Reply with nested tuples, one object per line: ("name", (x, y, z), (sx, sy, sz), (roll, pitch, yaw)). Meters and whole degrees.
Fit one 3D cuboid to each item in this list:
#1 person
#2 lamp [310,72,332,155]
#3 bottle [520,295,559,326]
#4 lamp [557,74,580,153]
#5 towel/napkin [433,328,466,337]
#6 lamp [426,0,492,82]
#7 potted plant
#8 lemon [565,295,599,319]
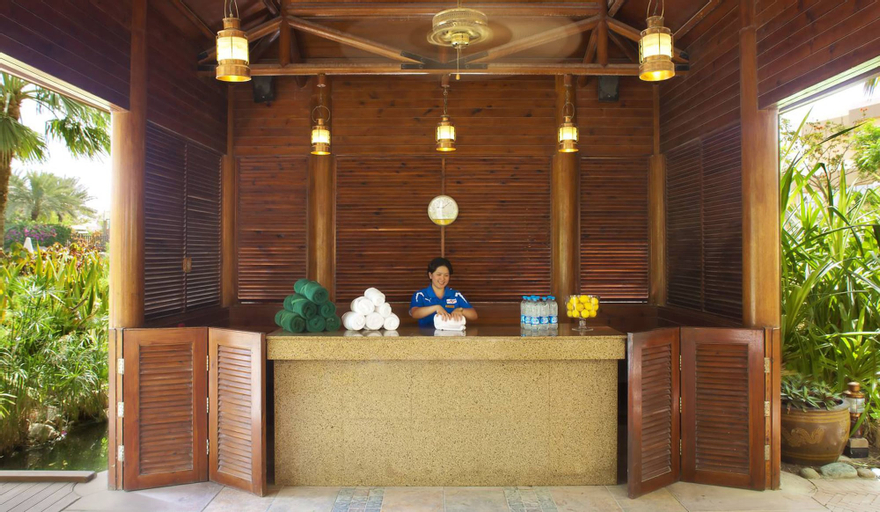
("person", (0.032, 0.398, 7.192), (0.703, 0.777, 0.728), (-1, -4, -8))
("lamp", (-1.439, -1.732, 7.815), (0.257, 1.097, 0.841), (-1, -4, -10))
("bottle", (1.063, 0.588, 6.944), (0.380, 0.313, 0.342), (0, -2, 5))
("lamp", (1.478, -1.673, 7.326), (0.276, 0.822, 0.238), (-5, 9, -11))
("towel/napkin", (0.102, 0.796, 6.622), (0.324, 0.063, 0.249), (-1, -4, -2))
("lamp", (0.156, -2.169, 6.474), (0.749, 0.753, 0.687), (-1, 0, -3))
("potted plant", (4.224, 1.724, 6.930), (0.553, 0.618, 0.511), (-16, 7, -20))
("lemon", (1.535, 0.541, 6.841), (0.346, 0.234, 0.306), (3, -3, -23))
